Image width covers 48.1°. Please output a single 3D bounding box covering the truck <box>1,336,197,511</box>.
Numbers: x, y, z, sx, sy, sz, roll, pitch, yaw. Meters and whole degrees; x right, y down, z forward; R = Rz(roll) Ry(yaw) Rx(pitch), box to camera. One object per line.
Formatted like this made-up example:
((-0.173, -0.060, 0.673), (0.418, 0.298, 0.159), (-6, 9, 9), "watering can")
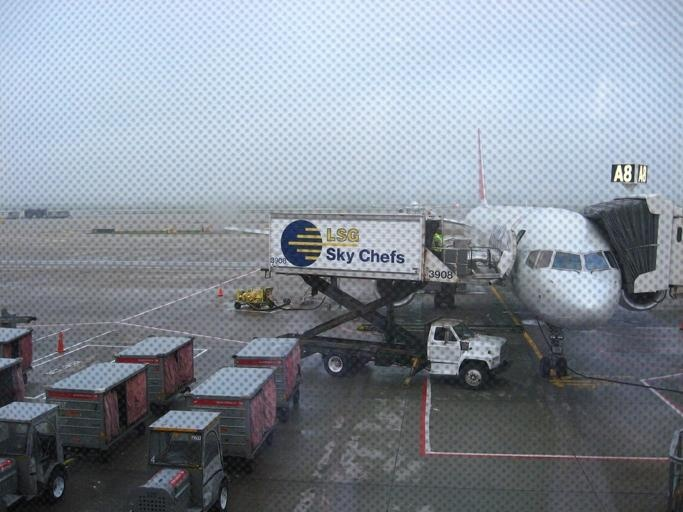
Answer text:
((-5.150, 3.227, 18.590), (1.449, 1.655, 5.300), (0, 8, 15), "truck")
